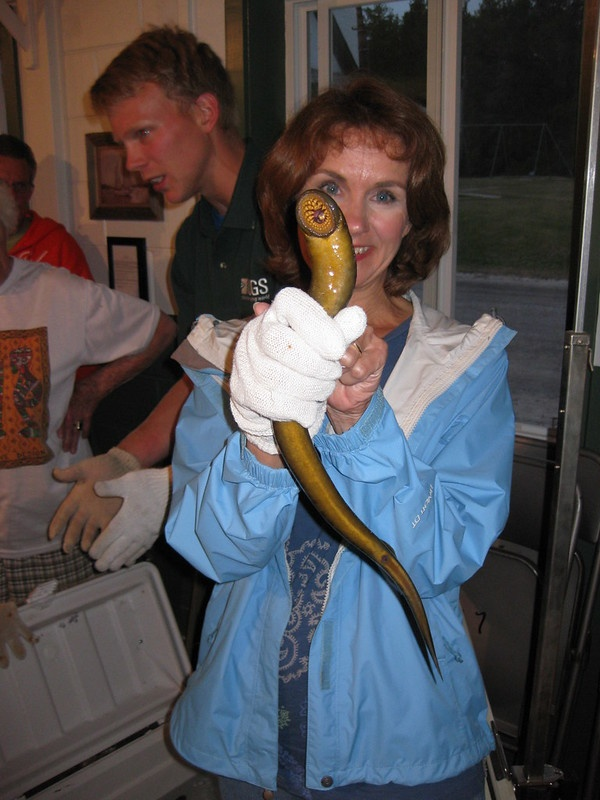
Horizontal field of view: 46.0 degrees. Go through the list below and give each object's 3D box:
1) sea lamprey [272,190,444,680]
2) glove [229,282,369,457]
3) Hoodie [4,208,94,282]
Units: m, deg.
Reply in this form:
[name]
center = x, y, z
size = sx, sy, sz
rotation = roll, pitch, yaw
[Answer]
[sea lamprey]
center = 0.051, 0.105, 0.936
size = 0.164, 0.714, 0.141
rotation = -11, 8, 19
[glove]
center = -0.013, -0.037, 0.919
size = 0.078, 0.153, 0.204
rotation = -13, 39, 49
[Hoodie]
center = -1.303, -0.814, 3.709
size = 0.360, 0.309, 0.139
rotation = 34, 38, 23
